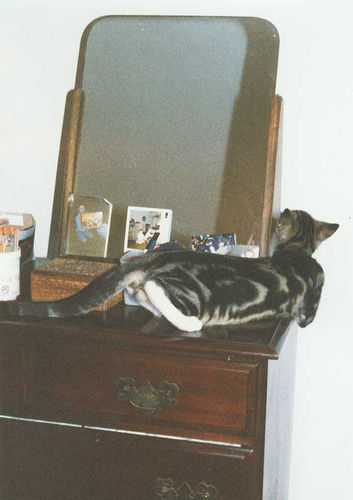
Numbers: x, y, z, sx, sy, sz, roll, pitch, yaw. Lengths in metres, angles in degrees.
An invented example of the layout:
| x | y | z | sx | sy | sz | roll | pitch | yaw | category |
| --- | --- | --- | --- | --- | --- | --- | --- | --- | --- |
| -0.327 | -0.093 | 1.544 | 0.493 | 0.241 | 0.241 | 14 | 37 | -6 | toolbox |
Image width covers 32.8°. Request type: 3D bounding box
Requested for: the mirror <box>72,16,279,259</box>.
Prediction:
| x | y | z | sx | sy | sz | roll | pitch | yaw | category |
| --- | --- | --- | --- | --- | --- | --- | --- | --- | --- |
| 0.016 | -0.247 | 1.370 | 0.572 | 0.683 | 0.124 | 6 | 5 | 5 | mirror |

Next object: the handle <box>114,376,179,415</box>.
| x | y | z | sx | sy | sz | roll | pitch | yaw | category |
| --- | --- | --- | --- | --- | --- | --- | --- | --- | --- |
| -0.049 | 0.254 | 1.061 | 0.080 | 0.044 | 0.005 | 5 | 12 | 20 | handle |

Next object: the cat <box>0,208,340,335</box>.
| x | y | z | sx | sy | sz | roll | pitch | yaw | category |
| --- | --- | --- | --- | --- | --- | --- | --- | --- | --- |
| -0.079 | 0.058 | 1.259 | 0.890 | 0.313 | 0.230 | 1 | -5 | -11 | cat |
